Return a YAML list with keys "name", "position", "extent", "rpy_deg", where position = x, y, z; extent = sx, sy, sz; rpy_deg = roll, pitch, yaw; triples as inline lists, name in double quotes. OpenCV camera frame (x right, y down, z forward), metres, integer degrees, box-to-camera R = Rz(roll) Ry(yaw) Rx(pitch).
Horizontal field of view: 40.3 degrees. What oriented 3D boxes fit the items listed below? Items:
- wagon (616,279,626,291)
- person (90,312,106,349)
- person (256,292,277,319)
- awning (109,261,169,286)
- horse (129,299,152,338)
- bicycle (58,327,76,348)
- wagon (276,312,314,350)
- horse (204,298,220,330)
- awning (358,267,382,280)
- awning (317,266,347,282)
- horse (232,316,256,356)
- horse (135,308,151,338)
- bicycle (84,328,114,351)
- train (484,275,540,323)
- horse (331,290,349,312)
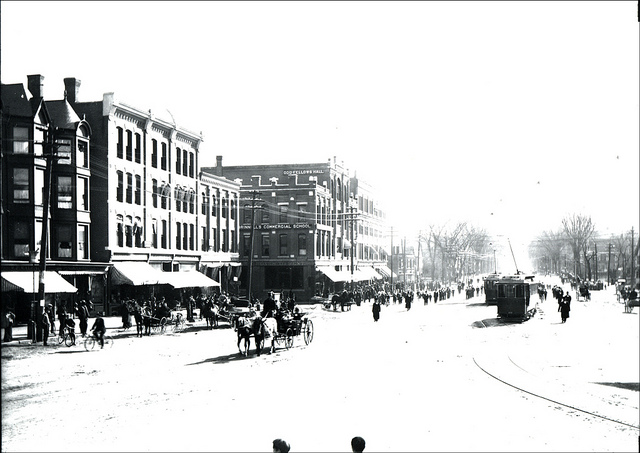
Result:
- name: "wagon"
  position: [29.164, 5.718, 84.268]
  extent: [0.738, 1.645, 0.819]
  rpy_deg: [3, 12, 14]
- name: "person"
  position: [-12.384, 5.862, 48.667]
  extent: [0.617, 1.910, 1.180]
  rpy_deg: [0, 2, -16]
- name: "person"
  position: [-2.863, 4.408, 48.321]
  extent: [0.859, 1.531, 1.815]
  rpy_deg: [0, 1, -2]
- name: "awning"
  position: [-14.462, 3.712, 68.135]
  extent: [2.229, 2.015, 4.610]
  rpy_deg: [1, 1, 21]
- name: "horse"
  position: [-11.223, 5.880, 54.957]
  extent: [0.586, 1.939, 2.161]
  rpy_deg: [-11, -13, 37]
- name: "bicycle"
  position: [-14.730, 6.489, 50.796]
  extent: [1.409, 0.969, 0.718]
  rpy_deg: [-4, -7, 40]
- name: "wagon"
  position: [-1.639, 5.641, 50.199]
  extent: [1.606, 1.747, 3.315]
  rpy_deg: [4, 12, -21]
- name: "horse"
  position: [-7.371, 5.966, 59.447]
  extent: [0.821, 1.955, 2.522]
  rpy_deg: [0, 1, 0]
- name: "awning"
  position: [6.408, 6.274, 115.086]
  extent: [2.666, 1.683, 12.651]
  rpy_deg: [0, 1, 3]
- name: "awning"
  position: [1.268, 5.098, 95.559]
  extent: [2.297, 1.790, 6.610]
  rpy_deg: [0, 1, 7]
- name: "horse"
  position: [-4.281, 5.956, 49.102]
  extent: [0.986, 1.848, 5.245]
  rpy_deg: [0, 1, -7]
- name: "horse"
  position: [-11.134, 5.999, 54.617]
  extent: [0.808, 1.655, 1.332]
  rpy_deg: [1, 2, 26]
- name: "bicycle"
  position: [-12.673, 6.424, 49.268]
  extent: [1.858, 1.359, 0.997]
  rpy_deg: [4, -8, -15]
- name: "train"
  position: [15.266, 5.554, 69.050]
  extent: [3.198, 3.930, 11.126]
  rpy_deg: [-1, -5, 14]
- name: "horse"
  position: [1.810, 6.794, 78.182]
  extent: [1.395, 1.576, 3.930]
  rpy_deg: [0, 1, 2]
